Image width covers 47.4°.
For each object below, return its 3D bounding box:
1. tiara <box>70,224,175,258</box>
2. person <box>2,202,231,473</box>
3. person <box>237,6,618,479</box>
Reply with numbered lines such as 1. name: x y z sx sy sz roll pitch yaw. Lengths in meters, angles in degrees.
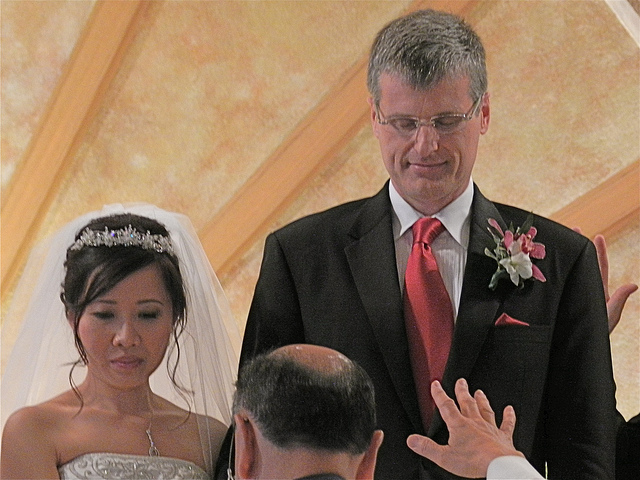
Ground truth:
1. tiara: -0.780 -0.002 2.904 0.398 0.111 0.077 6 -21 -6
2. person: -0.811 0.425 2.908 0.876 1.066 0.556 6 -23 -15
3. person: 0.455 0.054 2.670 1.311 1.558 0.738 8 -21 -10
